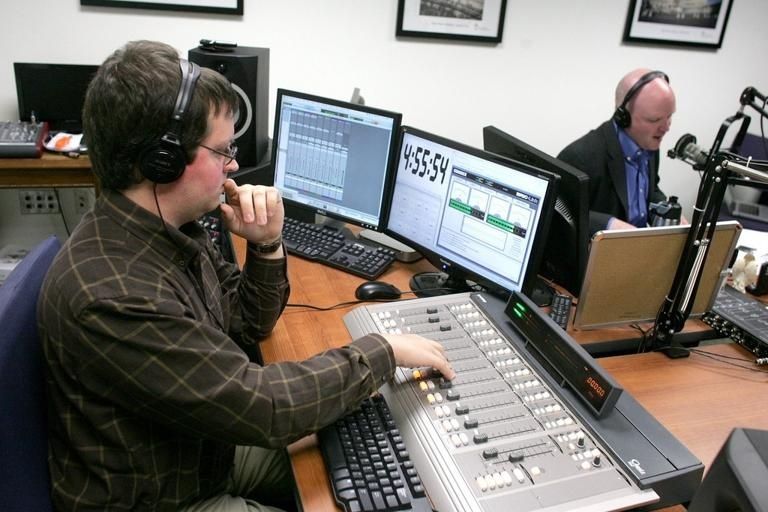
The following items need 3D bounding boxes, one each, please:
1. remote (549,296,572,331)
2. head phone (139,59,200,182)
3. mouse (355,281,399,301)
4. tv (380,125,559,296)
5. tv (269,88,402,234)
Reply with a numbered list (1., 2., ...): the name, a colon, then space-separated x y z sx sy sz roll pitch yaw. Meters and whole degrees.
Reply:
1. remote: 0.604 0.184 1.836 0.068 0.037 0.145 12 69 1
2. head phone: -0.558 -0.329 1.412 0.121 0.316 0.347 17 -1 -28
3. mouse: -0.022 0.128 1.919 0.126 0.041 0.072 -3 20 -22
4. tv: 0.291 -0.145 1.913 0.548 0.390 0.150 35 20 33
5. tv: -0.198 -0.364 2.165 0.572 0.446 0.095 23 29 24
